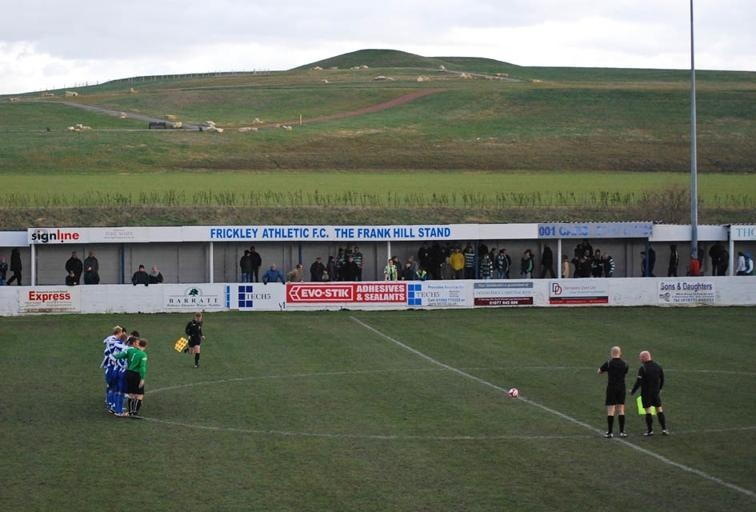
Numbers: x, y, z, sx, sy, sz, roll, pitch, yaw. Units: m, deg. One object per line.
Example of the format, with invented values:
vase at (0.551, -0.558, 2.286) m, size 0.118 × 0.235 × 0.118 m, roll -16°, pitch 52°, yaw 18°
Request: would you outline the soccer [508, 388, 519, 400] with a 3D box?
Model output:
soccer at (9.595, 9.633, 119.214) m, size 0.614 × 0.304 × 0.655 m, roll 1°, pitch 7°, yaw -6°
